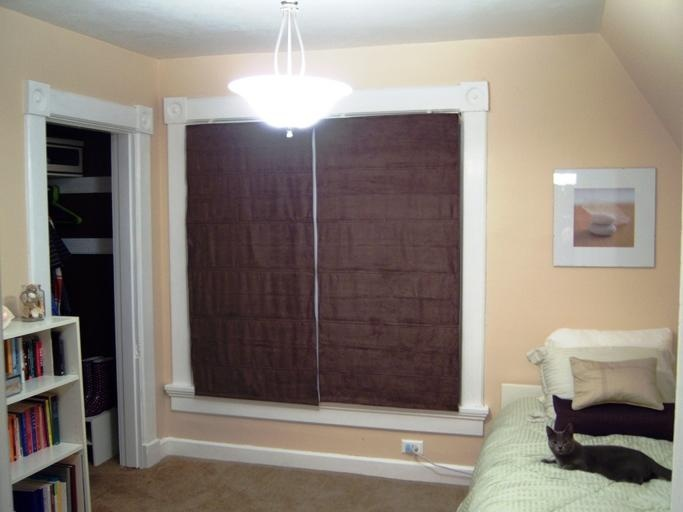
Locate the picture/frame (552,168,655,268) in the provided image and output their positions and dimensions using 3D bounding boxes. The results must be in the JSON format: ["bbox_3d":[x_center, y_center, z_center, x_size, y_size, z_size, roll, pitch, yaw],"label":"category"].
[{"bbox_3d":[1.715,-0.261,3.729,0.639,0.670,0.032,1,4,11],"label":"picture/frame"}]

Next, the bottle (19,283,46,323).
[{"bbox_3d":[-1.842,0.278,3.430,0.102,0.207,0.124,0,6,28],"label":"bottle"}]
